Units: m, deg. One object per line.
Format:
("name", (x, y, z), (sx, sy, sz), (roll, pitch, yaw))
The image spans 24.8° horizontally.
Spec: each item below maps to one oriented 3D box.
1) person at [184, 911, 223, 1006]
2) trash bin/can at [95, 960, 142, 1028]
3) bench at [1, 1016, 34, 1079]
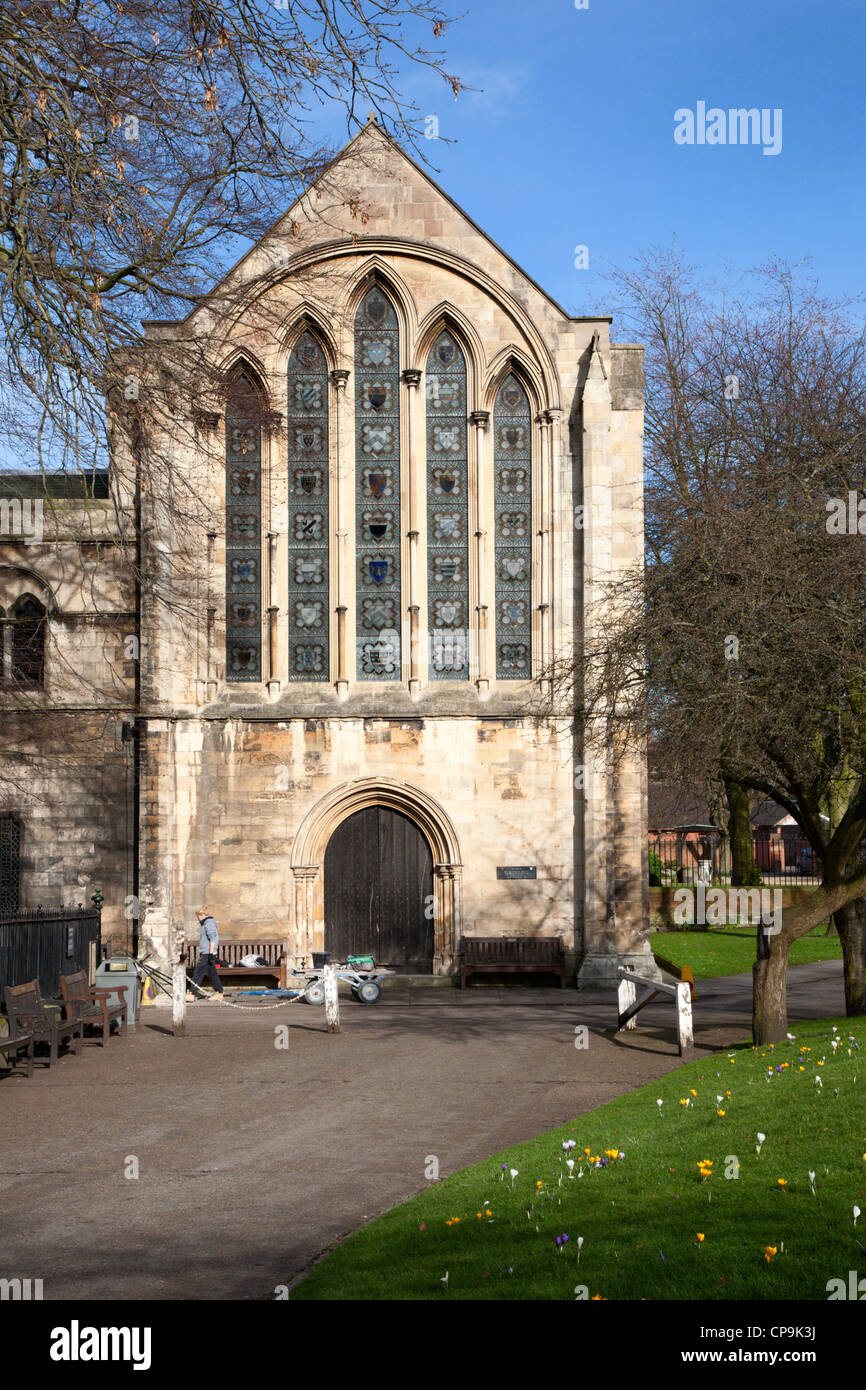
("person", (-2.933, 3.411, 25.071), (0.512, 1.178, 0.480), (7, -34, -5))
("trash bin/can", (-3.472, 3.323, 21.714), (0.697, 0.960, 0.526), (0, -6, -4))
("bench", (-3.781, 3.235, 17.961), (0.181, 0.354, 0.537), (-1, -2, 0))
